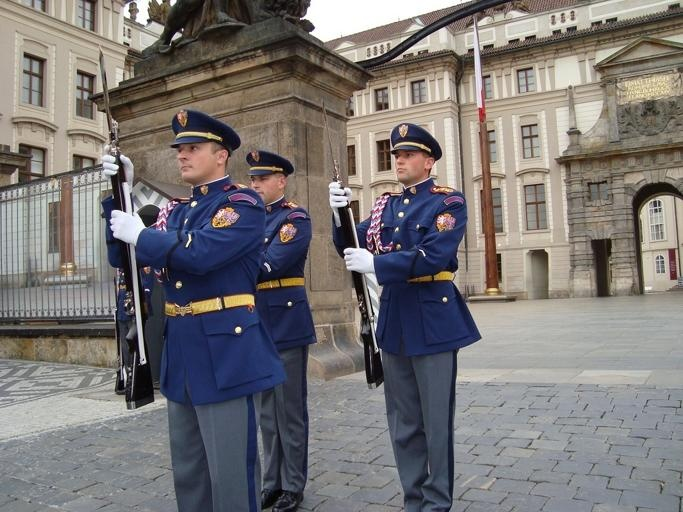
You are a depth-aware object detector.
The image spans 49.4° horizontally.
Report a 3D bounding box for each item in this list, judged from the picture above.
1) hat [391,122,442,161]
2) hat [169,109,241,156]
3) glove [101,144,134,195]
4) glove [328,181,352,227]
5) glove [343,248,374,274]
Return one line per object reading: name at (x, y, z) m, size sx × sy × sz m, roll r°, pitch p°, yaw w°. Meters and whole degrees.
hat at (0.598, -0.925, 6.196) m, size 0.502 × 0.220 × 0.430 m, roll 17°, pitch -8°, yaw -43°
hat at (-1.029, -0.951, 5.722) m, size 0.584 × 0.255 × 0.500 m, roll 7°, pitch 2°, yaw -31°
glove at (-1.721, -0.669, 5.660) m, size 0.263 × 0.109 × 0.319 m, roll 29°, pitch -51°, yaw -32°
glove at (-0.032, -0.423, 5.981) m, size 0.110 × 0.320 × 0.242 m, roll -3°, pitch -11°, yaw 20°
glove at (0.136, 0.036, 5.826) m, size 0.229 × 0.200 × 0.188 m, roll -5°, pitch 0°, yaw -1°
